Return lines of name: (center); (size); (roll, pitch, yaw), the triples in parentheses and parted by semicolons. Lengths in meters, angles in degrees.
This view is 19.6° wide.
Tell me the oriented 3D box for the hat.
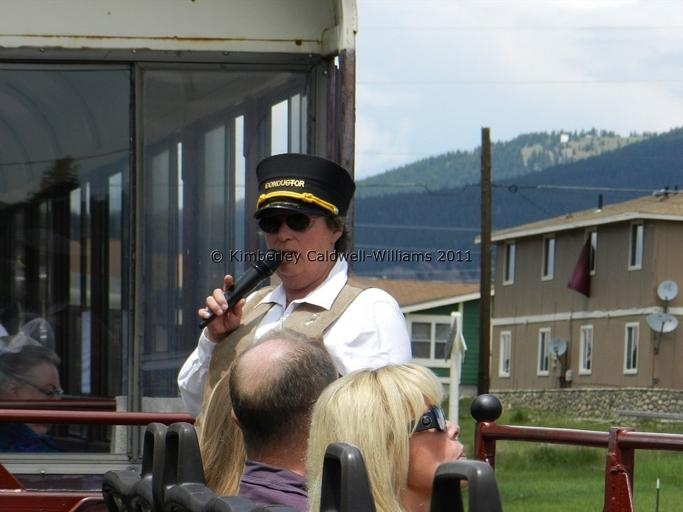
hat: (-0.411, -0.601, 19.094); (1.014, 0.597, 1.236); (-4, -11, 28)
